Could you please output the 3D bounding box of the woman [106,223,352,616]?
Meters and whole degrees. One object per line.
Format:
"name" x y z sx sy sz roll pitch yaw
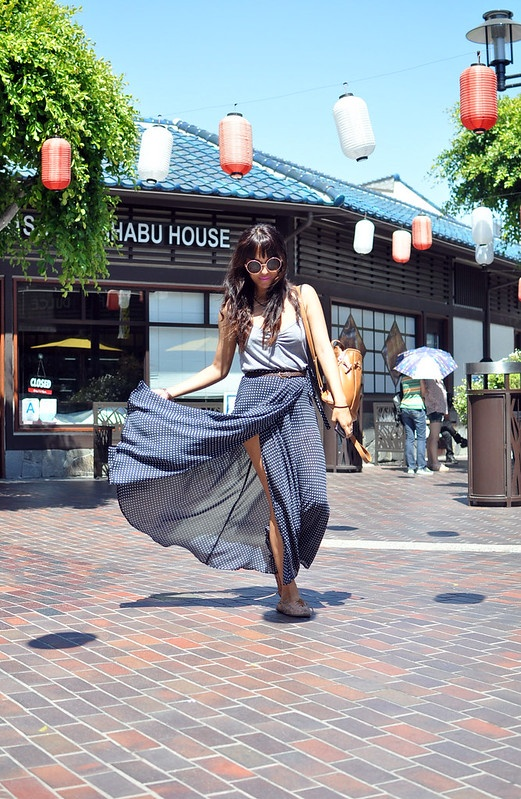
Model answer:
"woman" -0.141 0.016 4.397 1.151 1.716 0.536 -1 -1 4

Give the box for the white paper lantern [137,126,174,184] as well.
"white paper lantern" -1.221 -2.879 10.427 0.366 0.688 0.441 0 -1 -6

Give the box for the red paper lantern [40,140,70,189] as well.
"red paper lantern" -2.019 -2.331 8.899 0.284 0.465 0.314 0 -1 -13

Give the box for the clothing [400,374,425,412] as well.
"clothing" 2.341 -0.091 13.728 0.531 0.633 0.391 -3 -15 9

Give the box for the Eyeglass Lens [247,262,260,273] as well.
"Eyeglass Lens" -0.029 -0.630 4.292 0.072 0.063 0.035 -1 -1 9

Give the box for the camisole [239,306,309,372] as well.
"camisole" 0.079 -0.267 4.436 0.432 0.437 0.257 -1 0 4

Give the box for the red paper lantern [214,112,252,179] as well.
"red paper lantern" -0.269 -2.799 9.783 0.341 0.678 0.505 0 -1 -3

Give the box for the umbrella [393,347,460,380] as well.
"umbrella" 2.471 -0.544 13.510 0.852 0.501 0.716 -1 -1 23

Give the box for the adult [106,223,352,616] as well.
"adult" -0.141 0.016 4.398 1.151 1.716 0.537 -1 -1 4

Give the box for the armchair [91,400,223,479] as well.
"armchair" -1.495 0.577 13.398 1.802 1.066 0.970 -2 -5 34

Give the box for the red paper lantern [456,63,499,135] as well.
"red paper lantern" 2.100 -2.911 8.653 0.335 0.651 0.347 -1 -1 10

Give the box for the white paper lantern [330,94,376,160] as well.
"white paper lantern" 0.915 -2.649 8.693 0.365 0.647 0.292 0 -1 1
